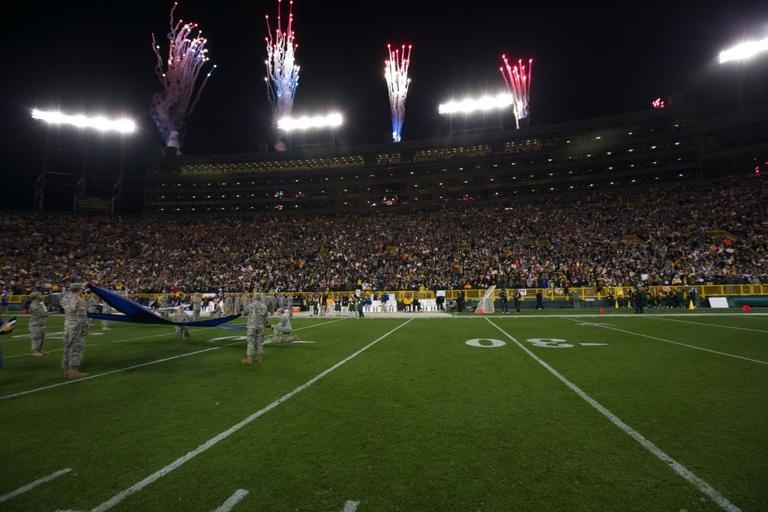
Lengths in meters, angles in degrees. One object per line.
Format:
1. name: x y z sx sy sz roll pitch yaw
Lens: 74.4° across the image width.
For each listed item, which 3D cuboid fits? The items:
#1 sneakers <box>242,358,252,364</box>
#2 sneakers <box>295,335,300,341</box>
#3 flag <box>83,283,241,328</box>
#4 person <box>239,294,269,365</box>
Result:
1. sneakers: -4.763 3.617 17.723 0.307 0.283 0.187 8 -1 -1
2. sneakers: -3.731 3.524 21.770 0.289 0.148 0.387 1 -2 -10
3. flag: -13.118 3.020 30.993 5.533 1.327 1.269 25 -31 -31
4. person: -4.596 2.484 18.060 0.842 2.412 1.185 -4 8 -14
